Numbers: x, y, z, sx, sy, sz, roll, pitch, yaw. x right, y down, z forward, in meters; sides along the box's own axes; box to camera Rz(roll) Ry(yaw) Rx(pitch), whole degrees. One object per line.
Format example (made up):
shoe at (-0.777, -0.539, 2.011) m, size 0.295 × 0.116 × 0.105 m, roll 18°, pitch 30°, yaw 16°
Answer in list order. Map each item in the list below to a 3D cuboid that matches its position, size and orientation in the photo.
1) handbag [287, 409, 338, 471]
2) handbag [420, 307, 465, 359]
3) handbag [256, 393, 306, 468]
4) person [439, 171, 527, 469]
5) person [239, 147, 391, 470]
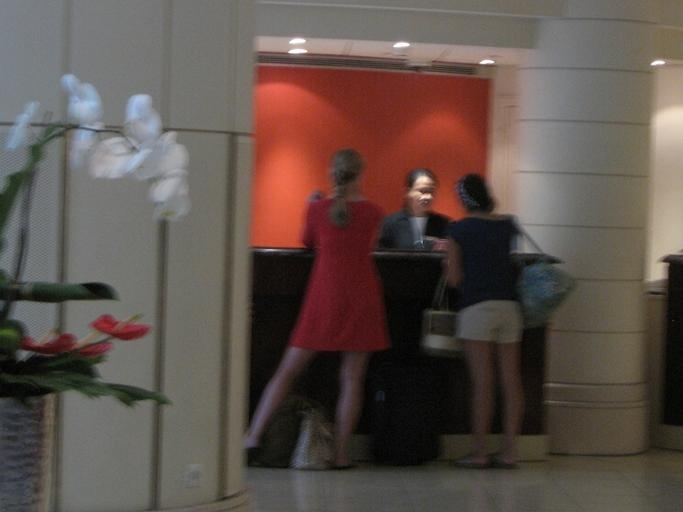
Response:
handbag at (-0.138, 0.979, 4.881) m, size 0.231 × 0.397 × 0.271 m, roll -1°, pitch 8°, yaw -29°
handbag at (0.515, 0.408, 4.894) m, size 0.221 × 0.226 × 0.232 m, roll 1°, pitch -3°, yaw 21°
handbag at (-0.314, 0.944, 4.847) m, size 0.106 × 0.341 × 0.256 m, roll 22°, pitch -8°, yaw -18°
person at (0.767, 0.374, 4.841) m, size 0.497 × 1.564 × 0.298 m, roll 5°, pitch 0°, yaw -1°
person at (-0.083, 0.293, 4.702) m, size 0.680 × 1.641 × 0.299 m, roll 5°, pitch 0°, yaw 2°
